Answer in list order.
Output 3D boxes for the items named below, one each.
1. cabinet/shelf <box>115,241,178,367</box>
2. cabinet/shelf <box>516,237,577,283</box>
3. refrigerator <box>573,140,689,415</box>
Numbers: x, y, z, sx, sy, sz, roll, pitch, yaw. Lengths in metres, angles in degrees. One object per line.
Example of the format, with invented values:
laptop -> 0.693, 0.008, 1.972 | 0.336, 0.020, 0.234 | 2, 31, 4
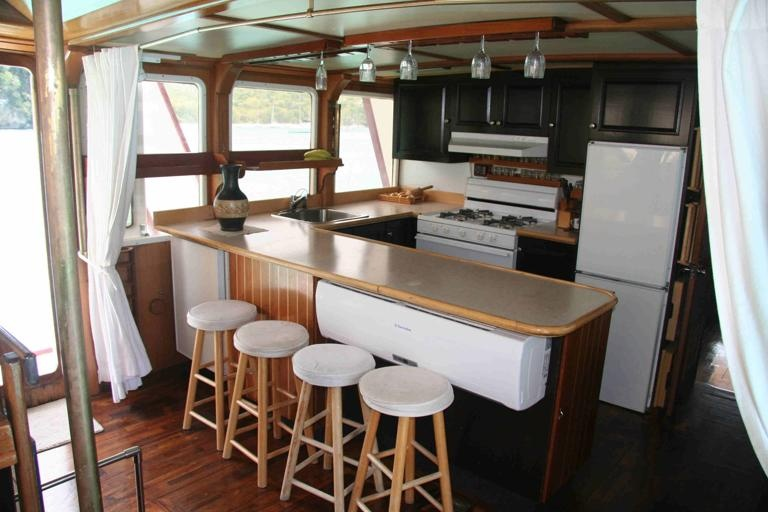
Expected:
cabinet/shelf -> -1.810, 0.390, 4.370 | 0.143, 1.016, 0.386 | 14, 21, 40
cabinet/shelf -> 1.311, -0.006, 4.530 | 0.520, 0.320, 0.458 | 9, 8, 23
refrigerator -> 1.687, 0.162, 3.974 | 0.628, 1.848, 0.370 | 6, 18, 23
